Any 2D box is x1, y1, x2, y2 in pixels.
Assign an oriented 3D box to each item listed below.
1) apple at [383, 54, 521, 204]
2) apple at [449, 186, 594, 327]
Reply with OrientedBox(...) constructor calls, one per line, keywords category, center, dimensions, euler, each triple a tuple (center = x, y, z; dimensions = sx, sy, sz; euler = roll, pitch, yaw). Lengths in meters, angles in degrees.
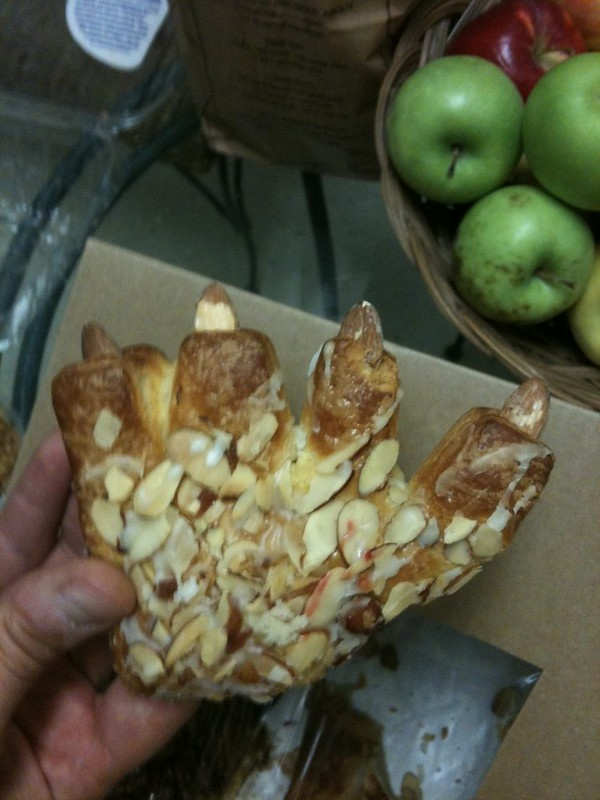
OrientedBox(category="apple", center=(0.133, -0.219, 0.709), dimensions=(0.119, 0.123, 0.104), euler=(10, -39, 13))
OrientedBox(category="apple", center=(0.173, -0.122, 0.709), dimensions=(0.117, 0.099, 0.102), euler=(2, 21, 9))
